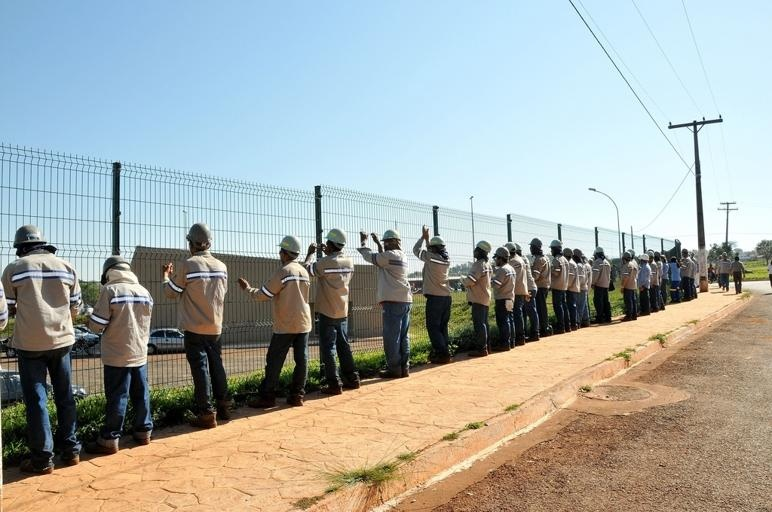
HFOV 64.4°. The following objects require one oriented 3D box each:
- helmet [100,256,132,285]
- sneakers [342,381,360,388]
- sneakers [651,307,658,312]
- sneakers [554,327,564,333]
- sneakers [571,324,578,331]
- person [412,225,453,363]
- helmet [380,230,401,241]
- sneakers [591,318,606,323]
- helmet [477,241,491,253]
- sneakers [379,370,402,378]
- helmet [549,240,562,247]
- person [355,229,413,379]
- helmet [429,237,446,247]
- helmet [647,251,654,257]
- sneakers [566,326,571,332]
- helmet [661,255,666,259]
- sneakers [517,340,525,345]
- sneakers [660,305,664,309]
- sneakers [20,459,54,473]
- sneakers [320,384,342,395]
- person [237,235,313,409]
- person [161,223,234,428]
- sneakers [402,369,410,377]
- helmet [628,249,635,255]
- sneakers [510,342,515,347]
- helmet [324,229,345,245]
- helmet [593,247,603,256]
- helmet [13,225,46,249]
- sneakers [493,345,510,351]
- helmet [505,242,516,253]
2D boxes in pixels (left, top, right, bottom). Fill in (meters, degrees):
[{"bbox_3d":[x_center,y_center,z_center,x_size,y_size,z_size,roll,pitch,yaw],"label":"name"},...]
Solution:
[{"bbox_3d":[-3.884,0.196,8.910,0.329,0.428,0.406,-3,3,-34],"label":"helmet"},{"bbox_3d":[-0.639,2.310,11.153,0.324,0.148,0.122,4,-3,21],"label":"sneakers"},{"bbox_3d":[10.261,2.043,23.404,0.257,0.188,0.140,1,-4,-31],"label":"sneakers"},{"bbox_3d":[5.032,2.156,17.902,0.197,0.155,0.202,6,-9,-26],"label":"sneakers"},{"bbox_3d":[5.604,2.110,18.227,0.168,0.132,0.171,-1,-5,-6],"label":"sneakers"},{"bbox_3d":[1.080,0.969,13.134,0.569,2.612,0.606,0,7,3],"label":"person"},{"bbox_3d":[0.065,-0.416,12.232,0.300,0.170,0.249,10,8,31],"label":"helmet"},{"bbox_3d":[7.076,2.116,20.325,0.548,0.247,0.170,2,-1,-23],"label":"sneakers"},{"bbox_3d":[2.283,-0.230,14.279,0.316,0.253,0.551,1,7,6],"label":"helmet"},{"bbox_3d":[0.098,2.260,11.933,0.393,0.180,0.149,3,2,27],"label":"sneakers"},{"bbox_3d":[4.988,-0.352,17.976,0.314,0.165,0.232,-4,1,14],"label":"helmet"},{"bbox_3d":[0.074,0.917,12.111,0.775,2.790,1.107,-4,8,-31],"label":"person"},{"bbox_3d":[1.118,-0.323,13.273,0.182,0.198,0.244,-5,-16,41],"label":"helmet"},{"bbox_3d":[10.526,-0.083,24.366,0.304,0.179,0.480,-5,-7,12],"label":"helmet"},{"bbox_3d":[5.350,2.120,17.985,0.148,0.144,0.145,2,-4,-35],"label":"sneakers"},{"bbox_3d":[11.857,0.037,26.270,0.119,0.145,0.162,3,-27,30],"label":"helmet"},{"bbox_3d":[3.400,2.166,15.526,0.139,0.104,0.143,-1,-1,37],"label":"sneakers"},{"bbox_3d":[10.749,1.990,23.840,0.149,0.150,0.149,1,-5,-17],"label":"sneakers"},{"bbox_3d":[-4.418,2.666,7.814,0.381,0.180,0.169,7,1,16],"label":"sneakers"},{"bbox_3d":[-0.934,2.327,10.700,0.373,0.175,0.137,3,-2,12],"label":"sneakers"},{"bbox_3d":[-1.695,1.102,10.261,1.132,2.781,0.897,-7,9,-44],"label":"person"},{"bbox_3d":[-2.779,1.021,9.369,0.742,2.992,0.798,2,7,18],"label":"person"},{"bbox_3d":[0.391,2.264,11.926,0.114,0.139,0.118,0,-8,-2],"label":"sneakers"},{"bbox_3d":[8.658,-0.137,21.678,0.111,0.240,0.147,2,2,-13],"label":"helmet"},{"bbox_3d":[3.090,2.148,14.913,0.124,0.153,0.130,0,1,16],"label":"sneakers"},{"bbox_3d":[-0.938,-0.355,11.312,0.336,0.206,0.274,25,18,40],"label":"helmet"},{"bbox_3d":[7.143,-0.169,20.594,0.280,0.295,0.446,1,-7,-18],"label":"helmet"},{"bbox_3d":[-4.393,-0.220,7.555,0.333,0.327,0.359,-6,4,-42],"label":"helmet"},{"bbox_3d":[2.769,2.172,14.645,0.414,0.176,0.147,-2,-5,28],"label":"sneakers"},{"bbox_3d":[3.297,-0.257,16.147,0.230,0.313,0.292,0,-14,0],"label":"helmet"}]
